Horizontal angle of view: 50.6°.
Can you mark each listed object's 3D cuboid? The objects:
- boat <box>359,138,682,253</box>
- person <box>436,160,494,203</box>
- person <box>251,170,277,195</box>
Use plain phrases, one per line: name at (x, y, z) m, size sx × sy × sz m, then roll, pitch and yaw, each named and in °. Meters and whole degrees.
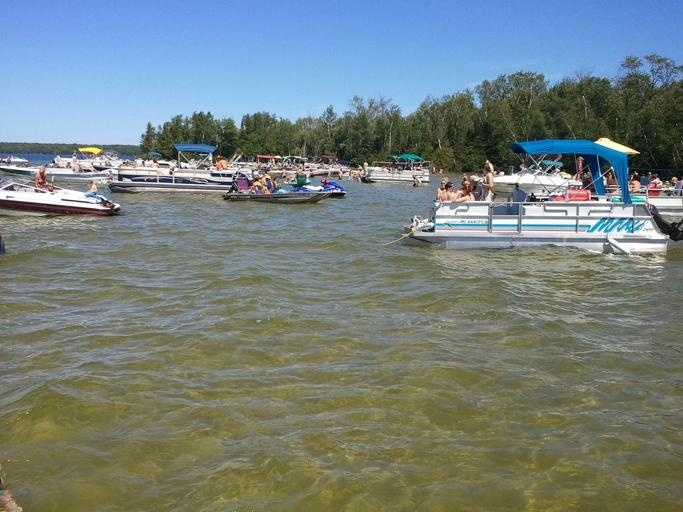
boat at (5.370, -1.621, 19.151) m, size 7.702 × 2.330 × 3.315 m, roll 0°, pitch 3°, yaw 2°
person at (3.459, -1.759, 19.297) m, size 1.699 × 1.345 × 1.013 m, roll -5°, pitch 25°, yaw -2°
person at (-3.513, -3.099, 32.943) m, size 1.015 × 0.542 × 1.271 m, roll -1°, pitch 43°, yaw -3°
